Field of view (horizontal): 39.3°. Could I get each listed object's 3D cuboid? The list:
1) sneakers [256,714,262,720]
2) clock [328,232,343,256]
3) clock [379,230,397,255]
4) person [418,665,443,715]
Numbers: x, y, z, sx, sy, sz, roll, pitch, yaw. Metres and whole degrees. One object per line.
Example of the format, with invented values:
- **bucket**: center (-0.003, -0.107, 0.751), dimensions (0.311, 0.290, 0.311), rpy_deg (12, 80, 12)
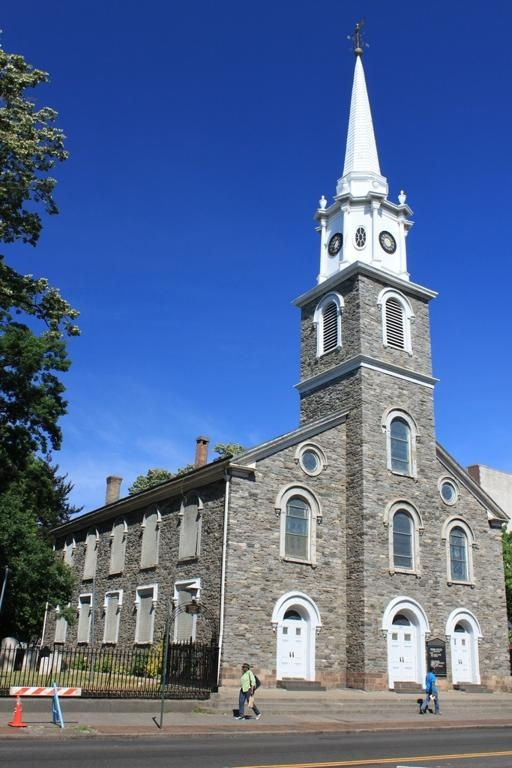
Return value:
- **sneakers**: center (0.064, 8.758, 18.856), dimensions (0.094, 0.107, 0.261), rpy_deg (-4, -23, -2)
- **clock**: center (3.875, -6.807, 35.247), dimensions (0.134, 1.277, 1.246), rpy_deg (16, -27, -21)
- **clock**: center (6.106, -6.715, 34.712), dimensions (1.133, 1.061, 0.257), rpy_deg (-10, -11, -42)
- **person**: center (5.753, 10.199, 23.867), dimensions (0.625, 1.484, 2.965), rpy_deg (-2, -25, 14)
